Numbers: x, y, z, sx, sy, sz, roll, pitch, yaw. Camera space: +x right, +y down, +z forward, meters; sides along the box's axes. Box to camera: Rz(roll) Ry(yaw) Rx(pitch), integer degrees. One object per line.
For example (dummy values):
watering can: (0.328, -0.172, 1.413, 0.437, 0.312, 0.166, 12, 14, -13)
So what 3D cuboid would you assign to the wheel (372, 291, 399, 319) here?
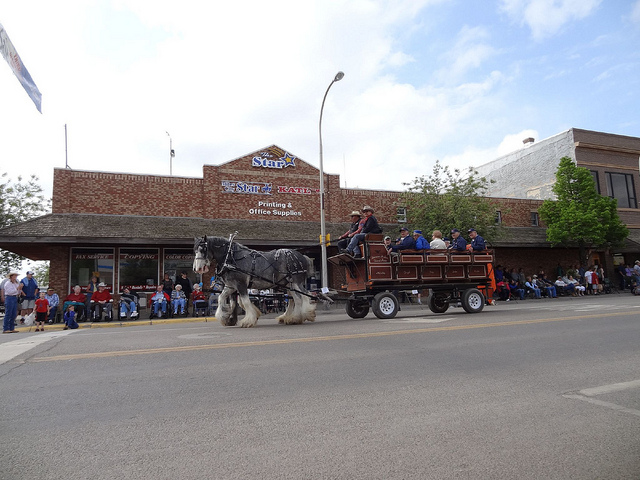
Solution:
wheel: (2.101, 2.093, 13.662, 0.841, 0.858, 0.298, -3, -7, -20)

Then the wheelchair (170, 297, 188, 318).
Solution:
wheelchair: (-6.375, 3.077, 19.113, 0.619, 0.922, 0.910, 2, 2, -7)

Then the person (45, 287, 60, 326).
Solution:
person: (-11.095, 2.742, 17.540, 0.381, 1.303, 1.528, 1, -4, -32)

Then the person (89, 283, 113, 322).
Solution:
person: (-9.355, 2.648, 18.056, 0.791, 1.556, 1.181, 1, -3, -29)

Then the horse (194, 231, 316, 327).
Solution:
horse: (-1.872, 1.227, 13.107, 3.857, 2.916, 1.285, 2, -11, -29)

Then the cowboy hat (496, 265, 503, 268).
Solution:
cowboy hat: (12.399, 1.800, 29.117, 0.613, 0.154, 0.435, 1, -6, -2)

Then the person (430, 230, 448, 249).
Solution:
person: (4.258, -0.029, 15.116, 0.557, 0.706, 1.521, -2, -3, 18)

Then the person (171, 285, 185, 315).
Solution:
person: (-6.382, 2.702, 19.162, 0.514, 1.349, 0.608, 1, -4, -40)

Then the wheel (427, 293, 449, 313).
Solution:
wheel: (4.272, 2.227, 15.155, 0.787, 0.799, 0.307, 7, 2, -31)

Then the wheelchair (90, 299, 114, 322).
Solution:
wheelchair: (-9.460, 3.024, 18.381, 0.902, 0.931, 1.925, 0, -4, -27)

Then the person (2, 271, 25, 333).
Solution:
person: (-10.023, 1.995, 13.800, 0.416, 1.949, 0.830, 1, -3, -35)

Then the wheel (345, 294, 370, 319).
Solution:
wheel: (1.310, 2.250, 14.376, 1.037, 1.056, 0.400, -1, 4, -25)

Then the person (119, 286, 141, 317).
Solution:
person: (-8.604, 2.811, 19.126, 0.734, 1.245, 1.496, -2, 32, -18)

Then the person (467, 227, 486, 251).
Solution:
person: (6.591, -0.065, 17.870, 0.677, 0.872, 1.075, -3, -8, 13)

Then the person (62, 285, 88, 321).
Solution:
person: (-10.143, 2.668, 17.576, 0.819, 1.456, 1.608, 1, -3, -29)

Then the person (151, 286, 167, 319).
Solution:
person: (-7.056, 2.710, 18.646, 0.735, 1.372, 0.561, -3, -3, 33)

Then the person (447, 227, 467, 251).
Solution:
person: (5.740, -0.069, 17.631, 0.636, 0.849, 1.001, 1, -10, -4)

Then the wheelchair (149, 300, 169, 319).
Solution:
wheelchair: (-7.107, 3.081, 18.553, 0.629, 0.921, 0.868, 4, 15, -4)

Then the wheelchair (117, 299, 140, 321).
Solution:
wheelchair: (-8.331, 3.059, 18.415, 0.922, 1.225, 1.174, 4, -9, -23)

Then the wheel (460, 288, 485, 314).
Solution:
wheel: (5.434, 2.143, 15.059, 0.855, 0.869, 0.302, 2, -12, -22)
